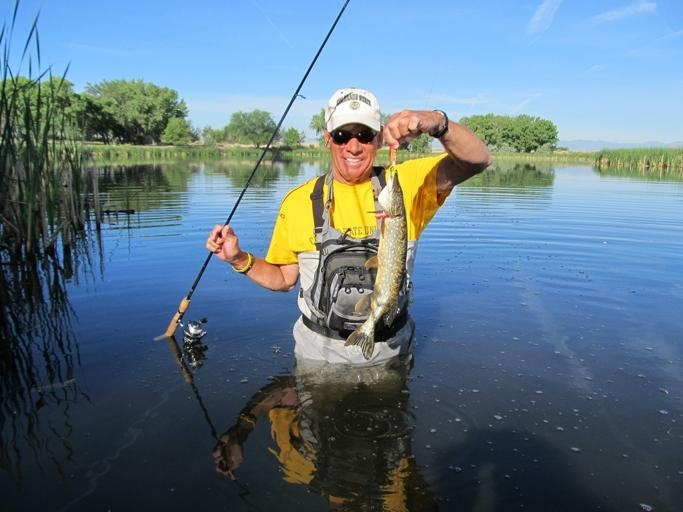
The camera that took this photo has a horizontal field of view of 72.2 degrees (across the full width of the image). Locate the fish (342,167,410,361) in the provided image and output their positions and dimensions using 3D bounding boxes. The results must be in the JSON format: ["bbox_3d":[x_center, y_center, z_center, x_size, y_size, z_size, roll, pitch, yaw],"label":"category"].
[{"bbox_3d":[0.328,0.132,4.076,0.492,1.743,0.327,2,9,-26],"label":"fish"}]

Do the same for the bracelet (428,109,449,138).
[{"bbox_3d":[0.778,-1.054,3.778,0.150,0.211,0.138,10,14,33],"label":"bracelet"}]

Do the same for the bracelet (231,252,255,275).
[{"bbox_3d":[-0.911,0.054,4.586,0.179,0.215,0.082,-17,10,6],"label":"bracelet"}]
